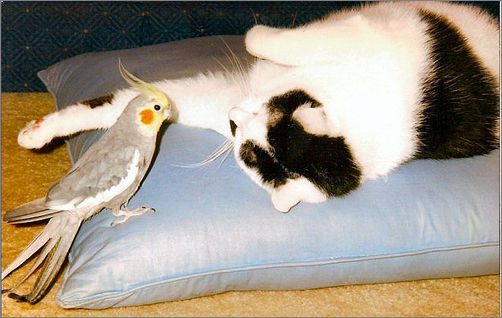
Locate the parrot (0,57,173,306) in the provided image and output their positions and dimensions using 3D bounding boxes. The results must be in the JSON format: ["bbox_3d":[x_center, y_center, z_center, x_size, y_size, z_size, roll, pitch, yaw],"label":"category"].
[{"bbox_3d":[-0.445,0.084,1.542,0.602,0.550,0.183,-28,48,-20],"label":"parrot"}]

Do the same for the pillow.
[{"bbox_3d":[0.051,0.074,1.455,0.918,0.266,0.826,-3,64,-8],"label":"pillow"}]
